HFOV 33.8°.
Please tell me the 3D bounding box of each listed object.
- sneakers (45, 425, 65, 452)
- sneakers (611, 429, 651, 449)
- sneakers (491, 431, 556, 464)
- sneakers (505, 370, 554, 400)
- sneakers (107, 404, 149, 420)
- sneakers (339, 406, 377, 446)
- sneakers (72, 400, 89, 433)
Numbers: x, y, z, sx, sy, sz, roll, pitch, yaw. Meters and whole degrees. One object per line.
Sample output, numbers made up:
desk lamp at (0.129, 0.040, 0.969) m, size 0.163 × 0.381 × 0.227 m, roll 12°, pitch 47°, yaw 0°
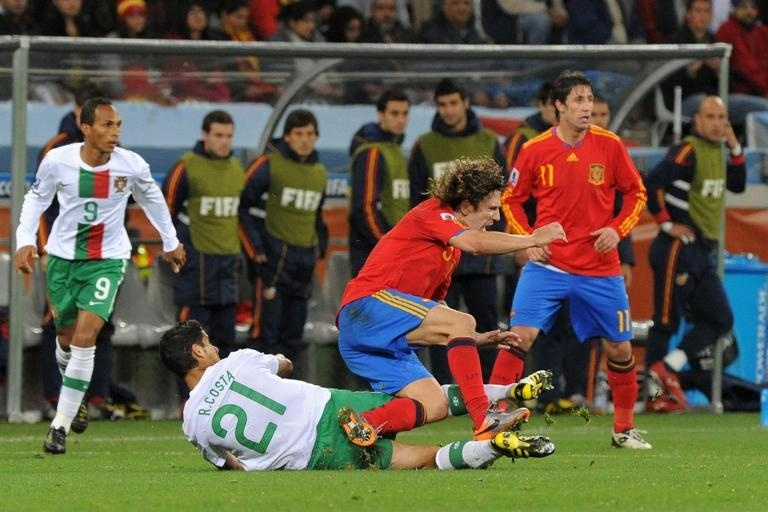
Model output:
sneakers at (-2.726, 1.531, 10.533) m, size 0.169 × 0.218 × 0.098 m, roll 1°, pitch -5°, yaw -16°
sneakers at (2.141, 1.579, 10.937) m, size 0.375 × 0.163 × 0.137 m, roll 1°, pitch 9°, yaw 17°
sneakers at (1.002, 1.418, 9.335) m, size 0.360 × 0.162 × 0.217 m, roll 2°, pitch -8°, yaw 9°
sneakers at (1.147, 0.981, 9.966) m, size 0.266 × 0.105 × 0.265 m, roll -26°, pitch 2°, yaw -14°
sneakers at (-2.602, 1.619, 13.067) m, size 0.290 × 0.087 × 0.182 m, roll 3°, pitch -1°, yaw -1°
sneakers at (-0.209, 1.265, 9.520) m, size 0.326 × 0.201 × 0.113 m, roll 44°, pitch 11°, yaw 6°
sneakers at (-2.628, 1.350, 11.043) m, size 0.123 × 0.367 × 0.165 m, roll 7°, pitch -39°, yaw -8°
